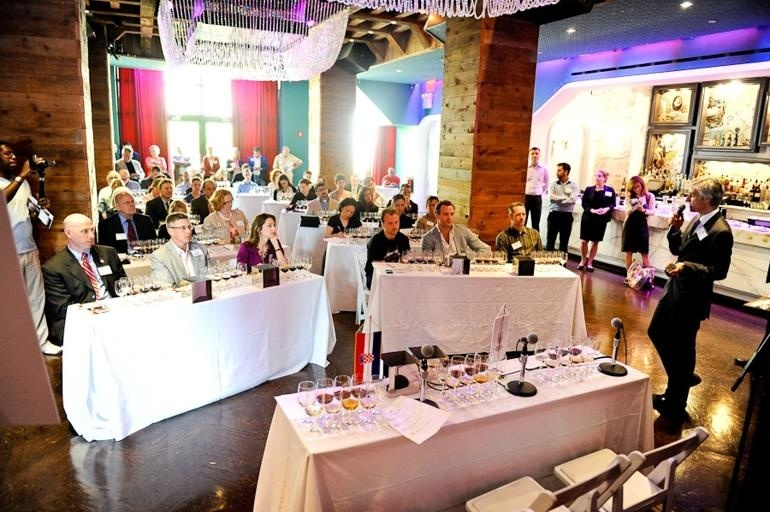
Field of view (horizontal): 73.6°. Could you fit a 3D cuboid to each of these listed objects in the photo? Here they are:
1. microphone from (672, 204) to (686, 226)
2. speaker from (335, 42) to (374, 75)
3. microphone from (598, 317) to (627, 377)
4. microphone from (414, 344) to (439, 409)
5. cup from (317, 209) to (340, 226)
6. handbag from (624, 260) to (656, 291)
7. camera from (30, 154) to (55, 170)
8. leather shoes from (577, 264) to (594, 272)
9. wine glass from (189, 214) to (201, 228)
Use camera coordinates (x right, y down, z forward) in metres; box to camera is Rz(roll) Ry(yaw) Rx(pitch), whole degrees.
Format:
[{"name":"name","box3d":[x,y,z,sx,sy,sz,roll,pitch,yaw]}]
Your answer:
[{"name":"microphone","box3d":[2.817,-0.405,4.900,0.074,0.297,0.082,7,-29,1]},{"name":"speaker","box3d":[-0.672,-4.778,12.267,0.590,0.643,0.607,-17,47,-21]},{"name":"microphone","box3d":[1.814,0.697,4.050,0.233,0.428,0.237,6,8,26]},{"name":"microphone","box3d":[0.307,0.831,3.626,0.141,0.382,0.305,0,12,3]},{"name":"cup","box3d":[-0.840,-0.574,7.755,0.344,0.263,0.316,0,11,0]},{"name":"handbag","box3d":[4.169,0.329,8.380,0.366,0.237,0.487,14,36,31]},{"name":"camera","box3d":[-3.768,-1.021,5.586,0.244,0.101,0.250,13,17,26]},{"name":"leather shoes","box3d":[3.684,0.209,9.431,0.115,0.143,0.340,0,3,0]},{"name":"wine glass","box3d":[-2.716,-0.499,7.245,0.172,0.188,0.179,-1,-2,5]}]
